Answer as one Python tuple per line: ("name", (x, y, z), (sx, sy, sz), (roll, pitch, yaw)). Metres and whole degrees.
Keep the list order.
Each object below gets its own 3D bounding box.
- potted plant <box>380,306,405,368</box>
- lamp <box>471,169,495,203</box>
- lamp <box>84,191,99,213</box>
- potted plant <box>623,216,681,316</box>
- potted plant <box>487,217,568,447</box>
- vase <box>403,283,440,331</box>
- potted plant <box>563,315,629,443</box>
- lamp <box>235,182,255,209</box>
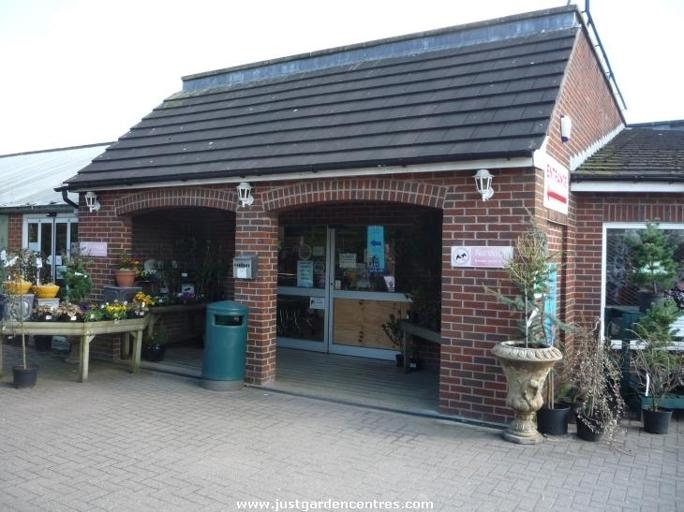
("potted plant", (1.077, 1.633, 12.457), (0.340, 1.032, 0.809), (-1, 7, -14))
("lamp", (2.120, -1.061, 9.127), (0.311, 0.487, 0.185), (2, 7, 12))
("lamp", (-5.216, -1.137, 12.709), (0.382, 0.452, 0.182), (5, 8, 32))
("potted plant", (5.141, 0.183, 10.163), (0.900, 1.525, 0.897), (6, 9, 37))
("potted plant", (2.694, 0.964, 8.820), (0.938, 3.151, 1.299), (3, 7, 19))
("vase", (1.567, 0.936, 11.420), (0.661, 0.827, 0.830), (-2, 3, -39))
("potted plant", (3.866, 1.817, 9.371), (0.881, 1.404, 2.013), (4, 8, 23))
("lamp", (-1.712, -1.094, 10.905), (0.298, 0.455, 0.209), (0, 7, -3))
